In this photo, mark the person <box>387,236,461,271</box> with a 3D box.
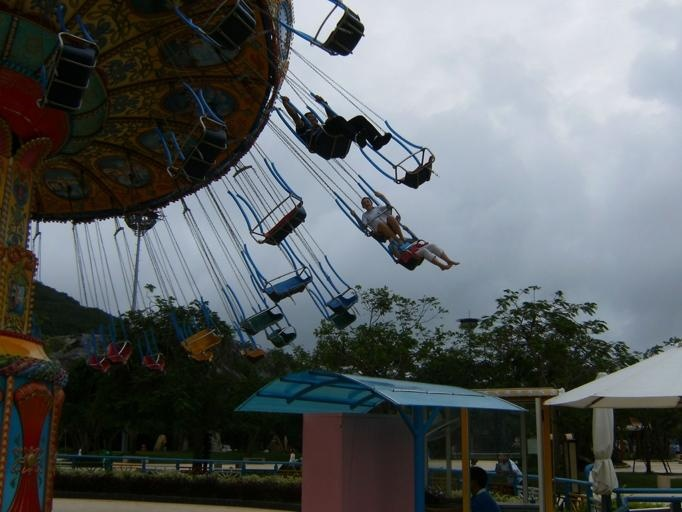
[{"bbox_3d":[1.609,-0.043,12.934,0.913,0.611,0.433,-17,9,39],"label":"person"}]

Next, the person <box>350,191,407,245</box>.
[{"bbox_3d":[1.022,-0.843,15.327,0.885,1.659,0.856,-41,-20,19],"label":"person"}]
